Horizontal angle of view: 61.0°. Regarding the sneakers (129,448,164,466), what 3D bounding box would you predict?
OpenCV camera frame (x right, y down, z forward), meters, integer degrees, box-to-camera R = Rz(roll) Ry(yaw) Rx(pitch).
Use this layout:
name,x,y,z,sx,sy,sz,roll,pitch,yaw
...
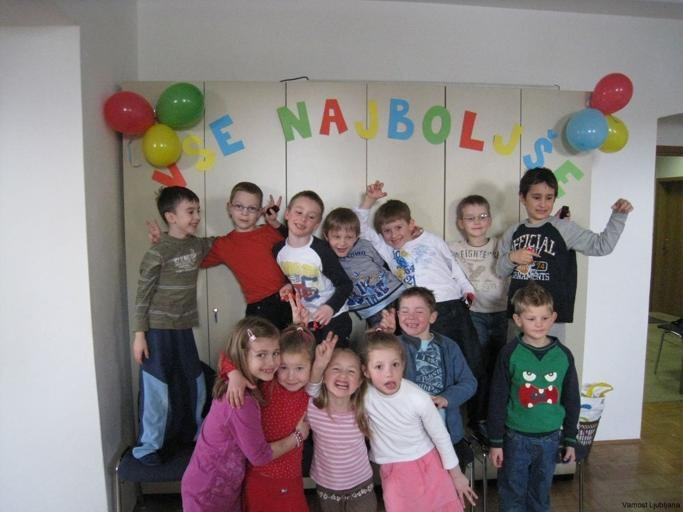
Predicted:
name,x,y,z,sx,sy,sz,roll,pitch,yaw
sneakers,-1.100,1.128,3.264,0.199,0.090,0.071,-5,-13,36

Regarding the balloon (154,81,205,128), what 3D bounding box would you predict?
name,x,y,z,sx,sy,sz,roll,pitch,yaw
balloon,-0.988,-0.893,3.581,0.294,0.242,0.230,-2,-25,-29

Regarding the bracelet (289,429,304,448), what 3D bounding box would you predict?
name,x,y,z,sx,sy,sz,roll,pitch,yaw
bracelet,-0.230,0.925,2.929,0.025,0.074,0.062,-19,32,-33

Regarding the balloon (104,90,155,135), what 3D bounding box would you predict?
name,x,y,z,sx,sy,sz,roll,pitch,yaw
balloon,-1.302,-0.879,3.555,0.314,0.268,0.252,0,-1,-20

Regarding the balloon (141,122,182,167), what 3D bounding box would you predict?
name,x,y,z,sx,sy,sz,roll,pitch,yaw
balloon,-1.142,-0.701,3.682,0.258,0.277,0.336,-4,0,-26

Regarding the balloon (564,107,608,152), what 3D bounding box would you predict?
name,x,y,z,sx,sy,sz,roll,pitch,yaw
balloon,1.601,-0.828,3.782,0.236,0.290,0.241,-3,18,-15

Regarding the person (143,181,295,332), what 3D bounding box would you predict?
name,x,y,z,sx,sy,sz,roll,pitch,yaw
person,-0.771,-0.005,3.557,0.622,1.143,0.267,-15,-2,-18
